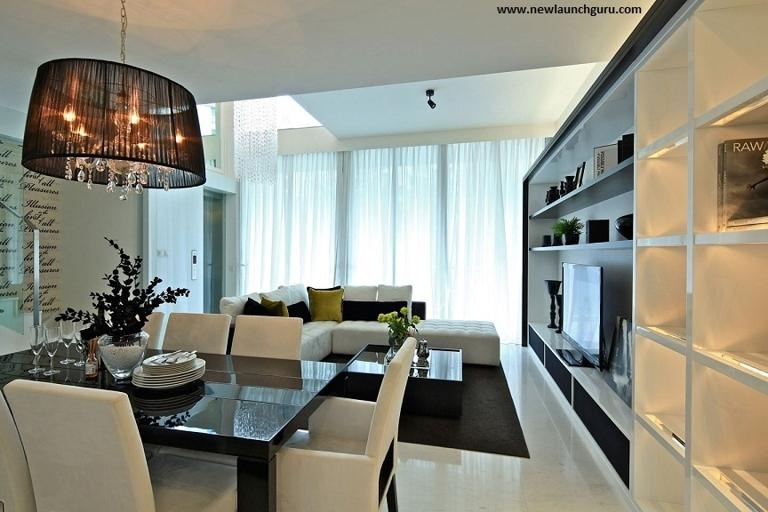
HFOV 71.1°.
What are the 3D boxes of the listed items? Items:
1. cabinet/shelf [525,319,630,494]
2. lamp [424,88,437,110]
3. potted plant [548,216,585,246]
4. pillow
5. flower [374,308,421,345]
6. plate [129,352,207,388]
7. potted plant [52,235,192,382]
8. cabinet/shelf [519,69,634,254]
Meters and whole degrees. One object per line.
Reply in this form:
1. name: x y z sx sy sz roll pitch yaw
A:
1. cabinet/shelf: 1.761 1.276 4.518 0.260 1.111 1.691 0 0 4
2. lamp: 0.534 -1.798 6.117 0.123 0.251 0.133 4 11 25
3. potted plant: 1.987 -0.237 5.828 0.297 0.366 0.361 -1 -2 20
4. pillow: -0.419 0.576 6.816 1.124 0.478 1.044 -2 -1 18
5. flower: 0.150 0.701 5.270 0.375 0.385 0.391 -3 -10 13
6. plate: -1.412 0.760 3.523 0.279 0.106 0.278 -2 5 -31
7. potted plant: -2.314 0.412 4.561 0.998 1.244 1.202 3 8 1
8. cabinet/shelf: 1.945 -0.642 5.493 0.808 1.685 3.203 0 0 11
